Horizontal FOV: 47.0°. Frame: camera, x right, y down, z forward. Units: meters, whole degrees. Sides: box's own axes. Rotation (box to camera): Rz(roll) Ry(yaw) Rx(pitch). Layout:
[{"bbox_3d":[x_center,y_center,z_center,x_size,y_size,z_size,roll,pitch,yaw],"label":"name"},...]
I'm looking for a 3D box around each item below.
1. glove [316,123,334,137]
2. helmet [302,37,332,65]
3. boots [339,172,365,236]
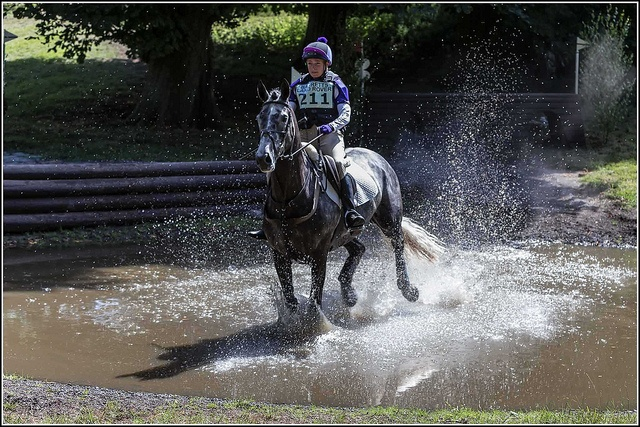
[{"bbox_3d":[0.067,-1.326,11.595,0.163,0.113,0.227,-4,20,-7],"label":"glove"},{"bbox_3d":[-0.018,-2.694,12.054,0.394,0.419,0.482,4,-14,24],"label":"helmet"},{"bbox_3d":[0.522,-0.132,12.193,0.299,1.081,0.405,-8,-10,26],"label":"boots"}]
